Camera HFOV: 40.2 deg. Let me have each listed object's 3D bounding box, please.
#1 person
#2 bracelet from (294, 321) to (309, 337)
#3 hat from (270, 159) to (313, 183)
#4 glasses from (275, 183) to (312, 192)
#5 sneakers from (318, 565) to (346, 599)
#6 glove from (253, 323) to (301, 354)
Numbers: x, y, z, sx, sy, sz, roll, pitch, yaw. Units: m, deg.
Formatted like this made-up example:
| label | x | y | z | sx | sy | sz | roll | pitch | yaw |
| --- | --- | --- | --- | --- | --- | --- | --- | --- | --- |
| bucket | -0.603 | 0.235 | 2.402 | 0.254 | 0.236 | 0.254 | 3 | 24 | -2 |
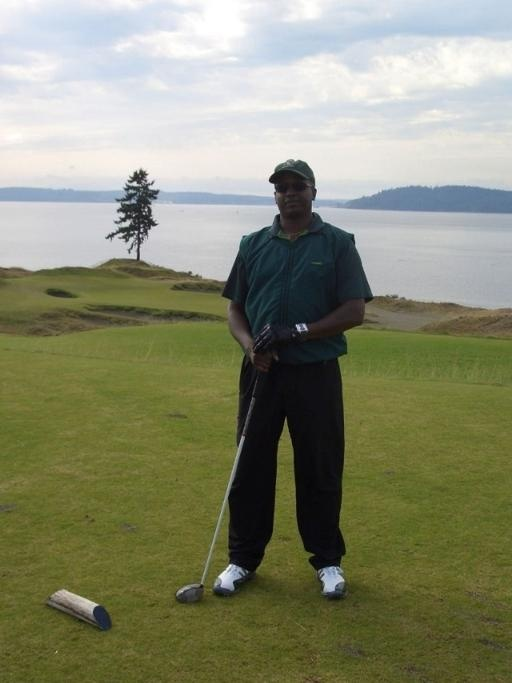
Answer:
| label | x | y | z | sx | sy | sz | roll | pitch | yaw |
| --- | --- | --- | --- | --- | --- | --- | --- | --- | --- |
| person | 0.191 | 0.166 | 3.946 | 0.860 | 2.314 | 0.839 | 5 | 9 | 13 |
| bracelet | 0.245 | -0.054 | 3.811 | 0.066 | 0.071 | 0.072 | -7 | 35 | -9 |
| hat | 0.202 | -0.930 | 3.879 | 0.243 | 0.124 | 0.146 | 2 | 8 | 0 |
| glasses | 0.201 | -0.850 | 3.919 | 0.196 | 0.060 | 0.077 | 3 | 8 | 1 |
| sneakers | 0.402 | 1.294 | 3.745 | 0.123 | 0.097 | 0.204 | 2 | 8 | -5 |
| glove | 0.119 | -0.015 | 3.819 | 0.235 | 0.146 | 0.100 | -2 | 26 | -20 |
